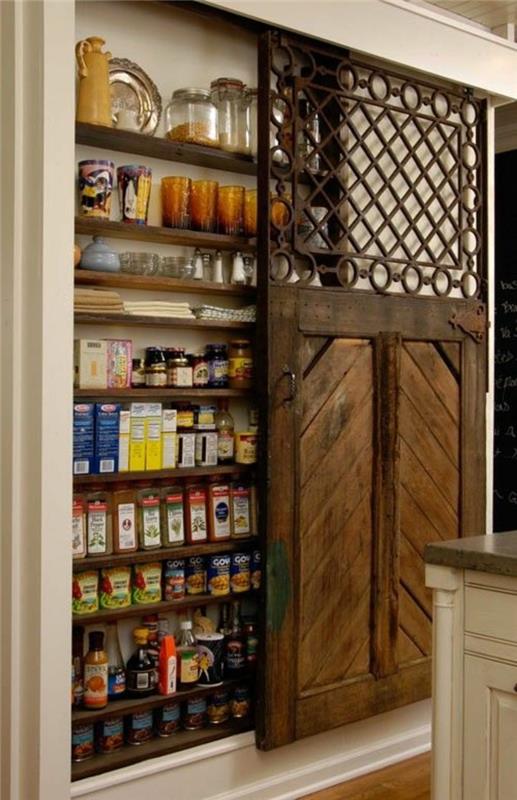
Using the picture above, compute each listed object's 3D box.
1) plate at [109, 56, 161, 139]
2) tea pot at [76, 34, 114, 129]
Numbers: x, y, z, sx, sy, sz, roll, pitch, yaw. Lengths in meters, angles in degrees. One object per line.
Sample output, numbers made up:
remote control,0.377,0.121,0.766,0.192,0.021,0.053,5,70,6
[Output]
plate,-0.390,-0.952,2.343,0.029,0.225,0.214,-3,0,42
tea pot,-0.476,-0.903,2.141,0.107,0.171,0.105,-3,3,0
